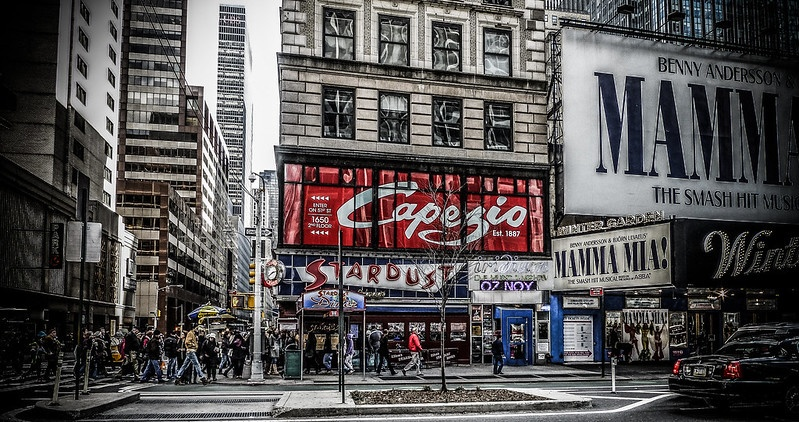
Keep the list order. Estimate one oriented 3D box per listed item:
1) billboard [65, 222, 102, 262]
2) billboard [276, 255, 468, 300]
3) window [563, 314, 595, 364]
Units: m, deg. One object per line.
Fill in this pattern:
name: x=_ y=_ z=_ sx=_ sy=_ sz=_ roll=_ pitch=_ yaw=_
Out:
billboard: x=-27.433 y=2.662 z=89.073 sx=3.627 sy=4.182 sz=0.330 roll=1 pitch=-5 yaw=-5
billboard: x=-3.503 y=6.592 z=104.115 sx=17.587 sy=4.261 sz=1.245 roll=0 pitch=-15 yaw=-7
window: x=18.388 y=12.931 z=107.375 sx=3.831 sy=4.752 sz=3.142 roll=-1 pitch=-1 yaw=20
